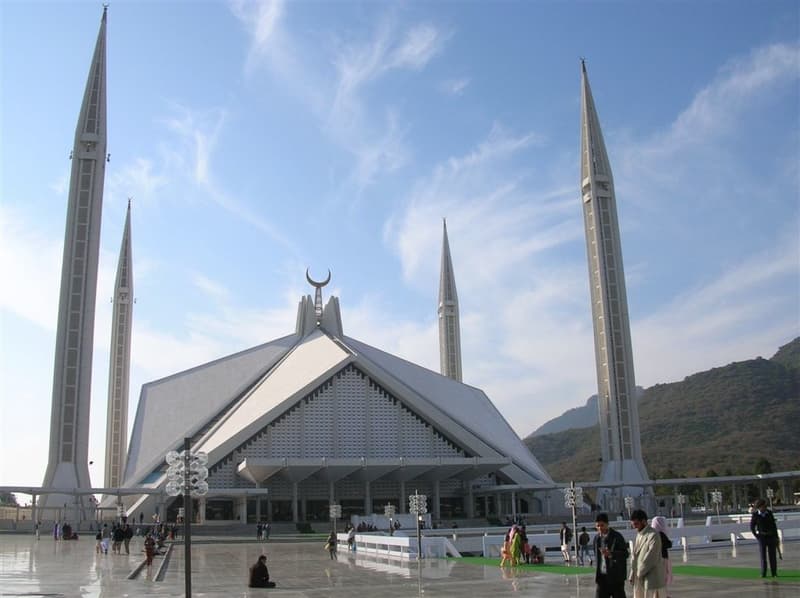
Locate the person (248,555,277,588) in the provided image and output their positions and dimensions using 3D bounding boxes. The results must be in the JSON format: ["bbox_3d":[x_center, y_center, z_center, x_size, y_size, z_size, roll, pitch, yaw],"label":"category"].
[{"bbox_3d":[-3.450,6.770,18.628,0.599,0.766,0.476,0,-10,-10],"label":"person"}]

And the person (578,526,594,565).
[{"bbox_3d":[5.996,7.922,24.354,0.436,1.146,2.642,-4,-11,13],"label":"person"}]
